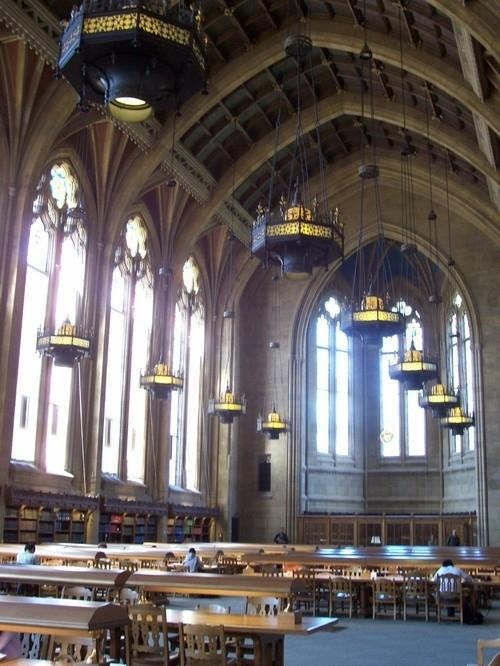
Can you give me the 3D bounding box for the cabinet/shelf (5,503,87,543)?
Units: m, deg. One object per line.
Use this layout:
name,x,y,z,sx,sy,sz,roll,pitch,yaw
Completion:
cabinet/shelf,-5.176,4.917,17.611,0.194,0.888,3.386,-3,-16,19

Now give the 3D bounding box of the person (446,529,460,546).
person,7.377,7.455,25.052,0.471,0.908,0.286,4,19,30
